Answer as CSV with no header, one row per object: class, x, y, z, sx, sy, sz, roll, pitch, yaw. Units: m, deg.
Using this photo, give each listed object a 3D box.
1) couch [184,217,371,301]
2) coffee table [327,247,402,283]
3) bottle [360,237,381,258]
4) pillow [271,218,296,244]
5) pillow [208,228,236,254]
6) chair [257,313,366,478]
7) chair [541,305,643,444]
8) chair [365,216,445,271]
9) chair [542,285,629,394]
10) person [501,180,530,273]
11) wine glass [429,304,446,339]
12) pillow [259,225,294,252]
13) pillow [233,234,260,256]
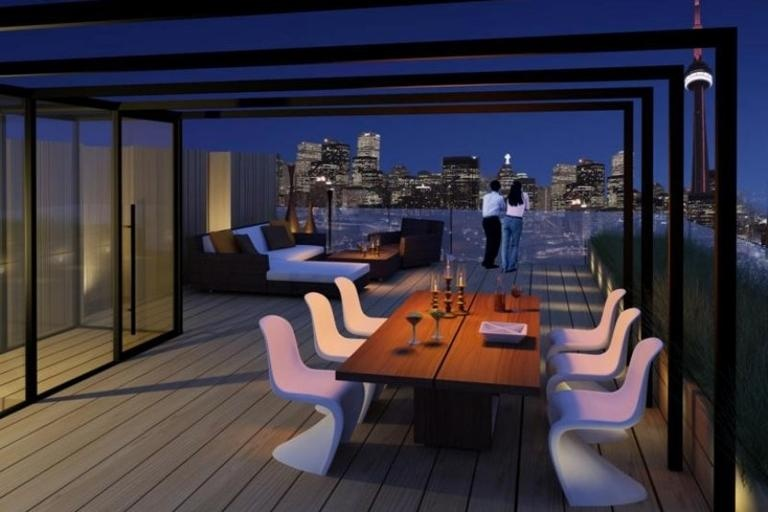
couch,-1.688,-0.104,10.163,3.143,0.996,2.984,3,12,12
coffee table,-0.524,0.205,10.411,1.098,0.411,1.255,10,9,21
bottle,-0.254,-0.179,10.747,0.358,0.658,0.405,0,-2,4
pillow,-2.144,-0.549,11.477,0.139,0.477,0.495,-12,-2,19
pillow,-2.748,-0.244,9.165,0.177,0.409,0.424,-14,-4,33
chair,-0.574,1.010,4.173,0.687,1.107,0.551,3,11,14
chair,1.703,0.955,4.474,0.798,1.057,0.600,-3,4,21
chair,0.449,-0.285,11.831,1.313,1.045,1.259,-4,7,-36
chair,1.815,0.878,4.813,0.781,1.119,0.610,-9,11,17
person,2.624,-0.590,10.850,0.464,1.887,1.221,3,11,14
wine glass,0.436,0.559,4.452,0.182,0.208,0.183,1,-3,3
pillow,-2.124,-0.390,10.669,0.146,0.489,0.560,-27,-8,33
pillow,-2.378,-0.205,9.237,0.118,0.385,0.379,-33,-22,33
